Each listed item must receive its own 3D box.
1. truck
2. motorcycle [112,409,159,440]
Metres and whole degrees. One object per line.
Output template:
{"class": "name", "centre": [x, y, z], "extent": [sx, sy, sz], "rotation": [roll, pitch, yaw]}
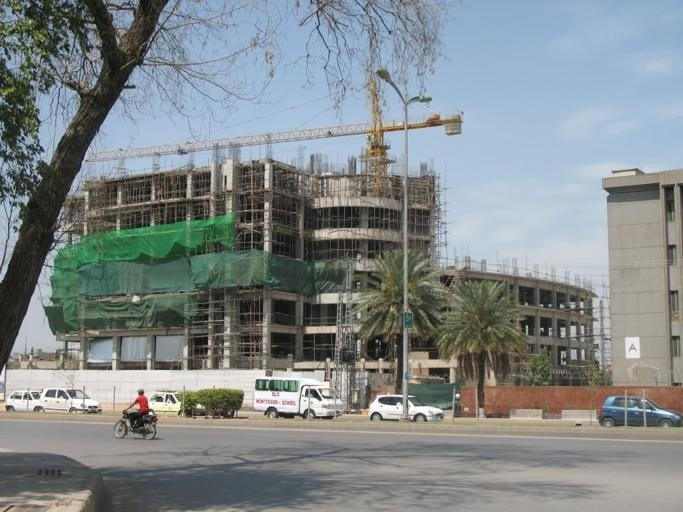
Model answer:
{"class": "truck", "centre": [-2.442, 8.528, 84.999], "extent": [5.255, 2.461, 2.397], "rotation": [-2, -4, 29]}
{"class": "motorcycle", "centre": [-9.704, 7.905, 65.868], "extent": [2.366, 1.424, 1.205], "rotation": [-1, -11, 17]}
